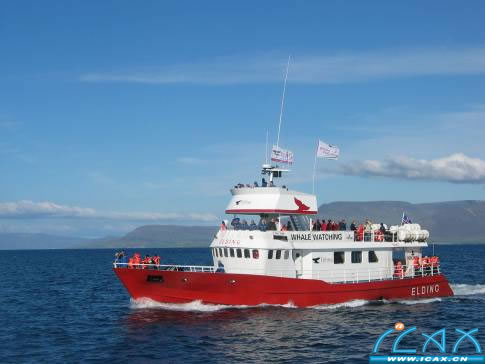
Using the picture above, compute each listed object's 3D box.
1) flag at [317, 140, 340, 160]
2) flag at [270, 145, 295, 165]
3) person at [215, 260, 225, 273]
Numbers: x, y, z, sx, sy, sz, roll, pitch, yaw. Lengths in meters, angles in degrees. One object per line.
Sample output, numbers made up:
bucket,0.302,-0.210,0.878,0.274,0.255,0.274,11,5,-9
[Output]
flag,9.137,-3.425,81.618,2.298,1.873,1.384,-1,4,0
flag,4.198,-2.800,79.649,2.143,1.807,3.672,-1,3,-4
person,-2.426,8.610,76.754,0.980,1.052,1.908,-1,3,-3
